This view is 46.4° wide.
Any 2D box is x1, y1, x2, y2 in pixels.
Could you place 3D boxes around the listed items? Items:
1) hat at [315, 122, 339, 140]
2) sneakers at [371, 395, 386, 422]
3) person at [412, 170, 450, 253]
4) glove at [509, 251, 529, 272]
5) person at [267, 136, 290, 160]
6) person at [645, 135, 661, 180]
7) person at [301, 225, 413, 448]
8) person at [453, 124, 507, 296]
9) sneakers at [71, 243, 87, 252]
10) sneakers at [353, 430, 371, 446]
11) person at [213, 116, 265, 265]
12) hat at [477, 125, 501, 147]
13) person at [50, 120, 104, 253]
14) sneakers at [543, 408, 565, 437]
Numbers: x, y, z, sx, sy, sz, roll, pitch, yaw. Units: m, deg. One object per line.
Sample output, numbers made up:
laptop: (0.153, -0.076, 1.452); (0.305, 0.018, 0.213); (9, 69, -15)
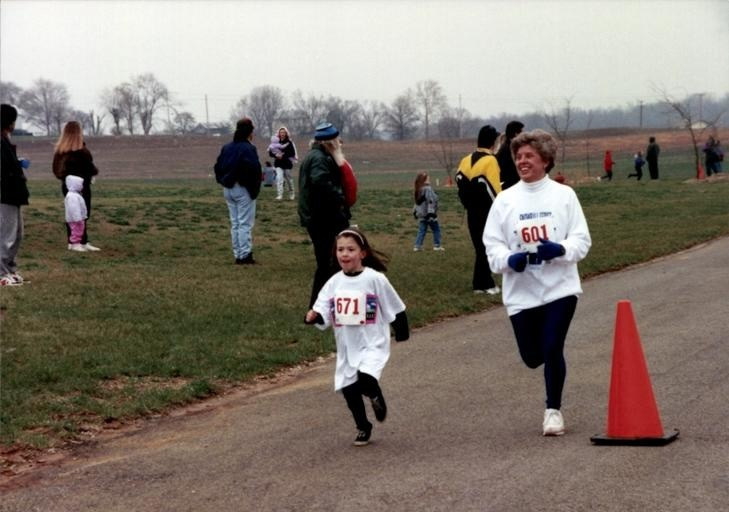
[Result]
hat: (-0.500, -1.602, 11.064); (0.278, 0.216, 0.299); (2, 13, -3)
sneakers: (0.132, 1.497, 8.270); (0.139, 0.309, 0.159); (5, 13, 11)
person: (1.337, -0.864, 17.438); (0.642, 1.638, 1.035); (5, 13, 10)
glove: (1.464, 0.078, 8.092); (0.192, 0.215, 0.128); (-2, 14, -22)
person: (-2.409, -3.033, 23.652); (0.364, 0.624, 1.244); (0, 14, -14)
person: (10.511, -3.667, 31.060); (0.467, 1.232, 0.368); (-5, 4, -27)
person: (-0.069, 0.780, 8.423); (0.850, 1.997, 0.645); (9, 14, 26)
person: (1.879, -0.665, 12.816); (0.853, 2.486, 0.977); (-5, 11, -22)
sneakers: (-5.065, -0.135, 15.186); (0.313, 0.141, 0.109); (0, 8, 1)
sneakers: (-0.012, 1.775, 8.308); (0.194, 0.133, 0.122); (-2, 14, -22)
person: (-2.171, -1.075, 14.584); (0.730, 2.520, 0.430); (1, 13, -8)
hat: (1.796, -1.704, 12.269); (0.255, 0.330, 0.330); (2, 4, 10)
person: (-5.004, -1.509, 14.727); (0.673, 1.637, 0.492); (-9, 17, -43)
sneakers: (1.815, 1.566, 8.124); (0.221, 0.253, 0.302); (5, 13, 11)
